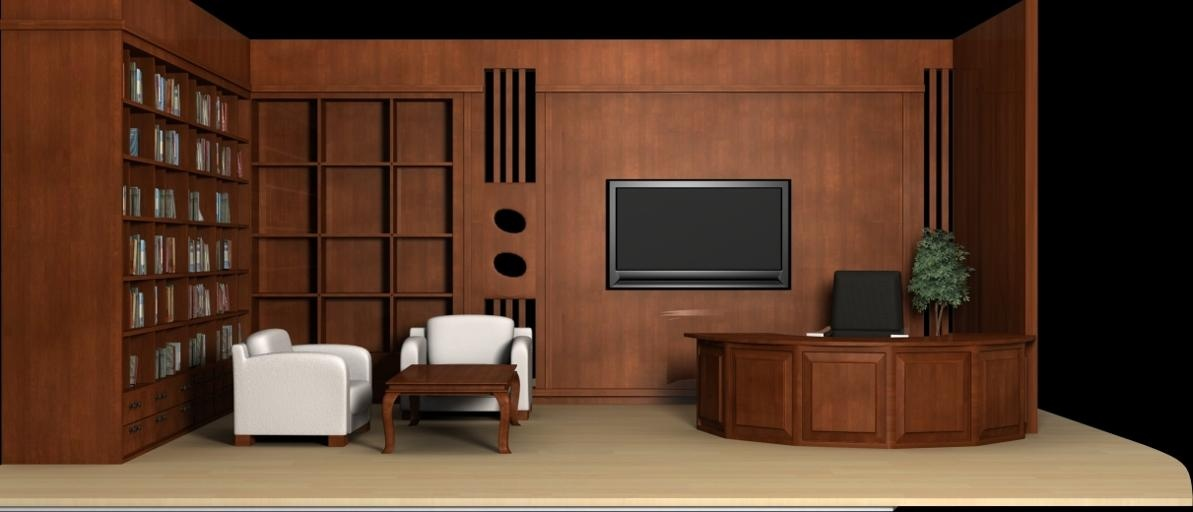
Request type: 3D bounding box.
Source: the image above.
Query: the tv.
[{"bbox_3d":[1.656,-0.309,13.335,3.950,1.768,0.168,-1,2,-36],"label":"tv"}]
